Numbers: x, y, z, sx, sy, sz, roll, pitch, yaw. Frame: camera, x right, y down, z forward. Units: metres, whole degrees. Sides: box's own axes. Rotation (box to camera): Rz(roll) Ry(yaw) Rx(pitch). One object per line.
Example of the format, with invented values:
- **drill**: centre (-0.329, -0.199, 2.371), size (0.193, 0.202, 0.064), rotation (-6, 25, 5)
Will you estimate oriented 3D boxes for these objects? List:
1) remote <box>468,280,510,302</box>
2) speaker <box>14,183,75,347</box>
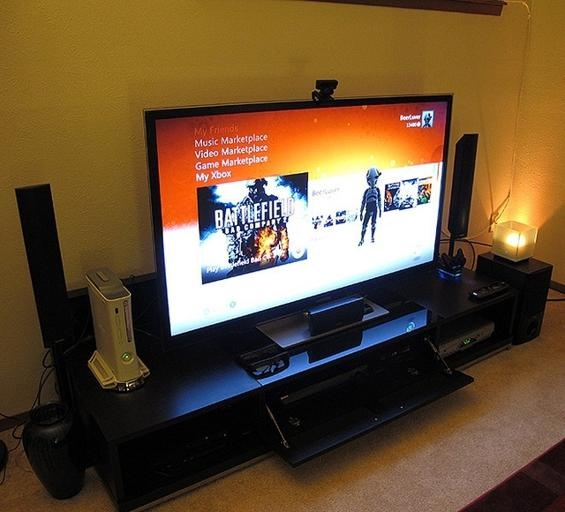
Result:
- **remote**: centre (1.142, 0.194, 2.745), size (0.231, 0.039, 0.103), rotation (-18, 31, -26)
- **speaker**: centre (-0.881, 0.067, 1.859), size (0.142, 0.667, 0.107), rotation (-8, 22, -13)
